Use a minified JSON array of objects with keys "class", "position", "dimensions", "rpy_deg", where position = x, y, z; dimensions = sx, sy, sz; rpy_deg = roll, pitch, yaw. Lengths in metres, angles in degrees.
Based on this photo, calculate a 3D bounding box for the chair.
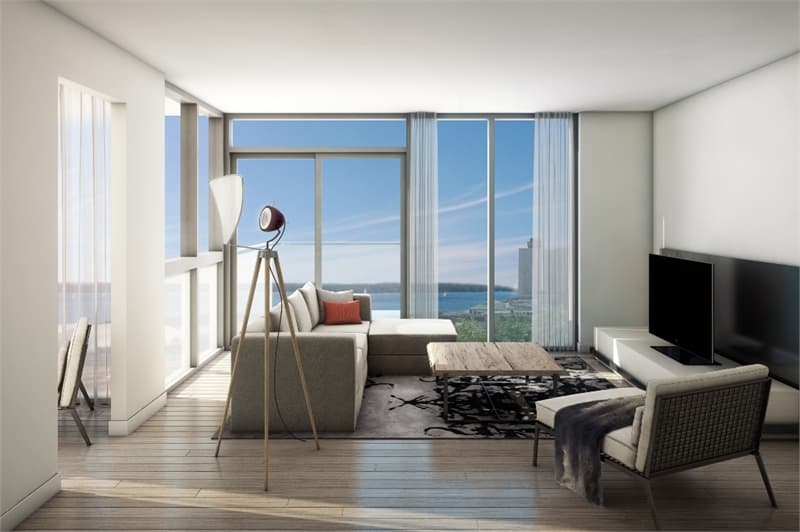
[{"class":"chair","position":[1.939,1.099,4.538],"dimensions":[1.304,1.037,1.353],"rpy_deg":[-2,2,-22]}]

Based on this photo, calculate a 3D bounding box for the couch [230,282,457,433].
[{"class":"couch","position":[-0.708,1.006,5.516],"dimensions":[1.408,0.671,1.939],"rpy_deg":[-1,3,-4]}]

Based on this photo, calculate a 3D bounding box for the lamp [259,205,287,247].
[{"class":"lamp","position":[-1.045,-0.328,4.787],"dimensions":[0.210,0.327,0.239],"rpy_deg":[7,-12,-28]}]
